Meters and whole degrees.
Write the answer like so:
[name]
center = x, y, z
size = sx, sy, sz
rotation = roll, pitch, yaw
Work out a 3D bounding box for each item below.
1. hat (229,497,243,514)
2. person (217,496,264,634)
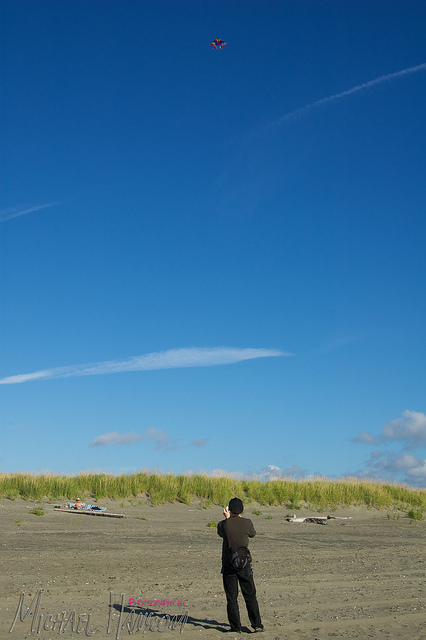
[hat]
center = 0.426, 3.406, 13.381
size = 0.210, 0.114, 0.290
rotation = 2, 20, 0
[person]
center = 0.454, 4.404, 13.116
size = 0.677, 2.340, 0.594
rotation = 7, -18, -39
